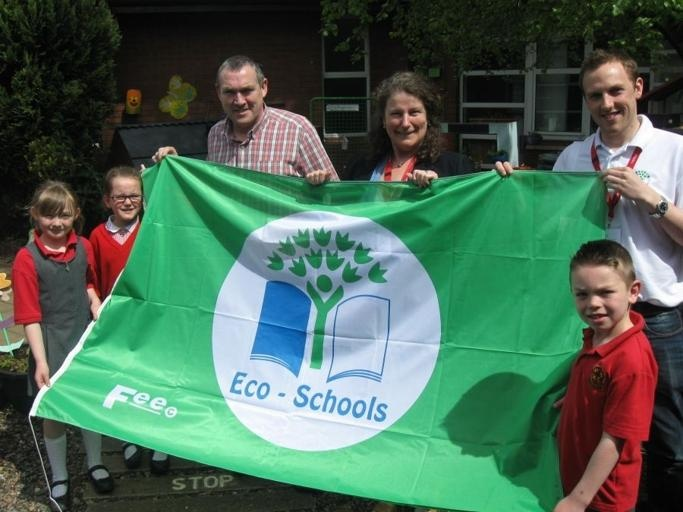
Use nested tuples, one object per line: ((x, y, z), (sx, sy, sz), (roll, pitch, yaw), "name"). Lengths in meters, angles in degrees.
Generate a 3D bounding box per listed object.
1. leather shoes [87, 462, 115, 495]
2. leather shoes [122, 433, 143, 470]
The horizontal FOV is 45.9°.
((-1.792, 1.664, 6.011), (0.115, 0.111, 0.292), (-3, 11, -29), "leather shoes")
((-1.688, 1.552, 6.389), (0.150, 0.166, 0.406), (0, 2, -23), "leather shoes")
